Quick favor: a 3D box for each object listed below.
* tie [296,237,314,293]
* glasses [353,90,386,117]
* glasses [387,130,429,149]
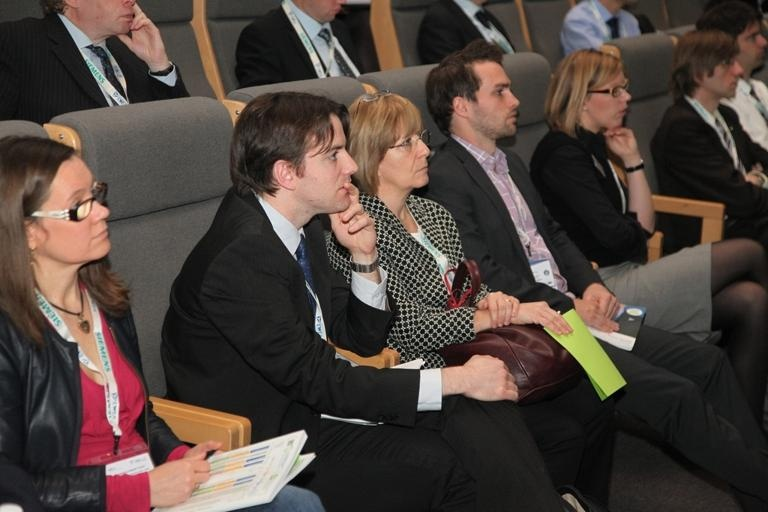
[{"bbox_3d":[-0.275,0.031,2.255,0.043,0.187,0.156,-14,18,-4],"label":"tie"},{"bbox_3d":[-0.068,-0.627,2.641,0.101,0.103,0.029,-7,21,-40],"label":"glasses"},{"bbox_3d":[0.093,-0.477,2.620,0.122,0.040,0.120,-17,3,28],"label":"glasses"}]
